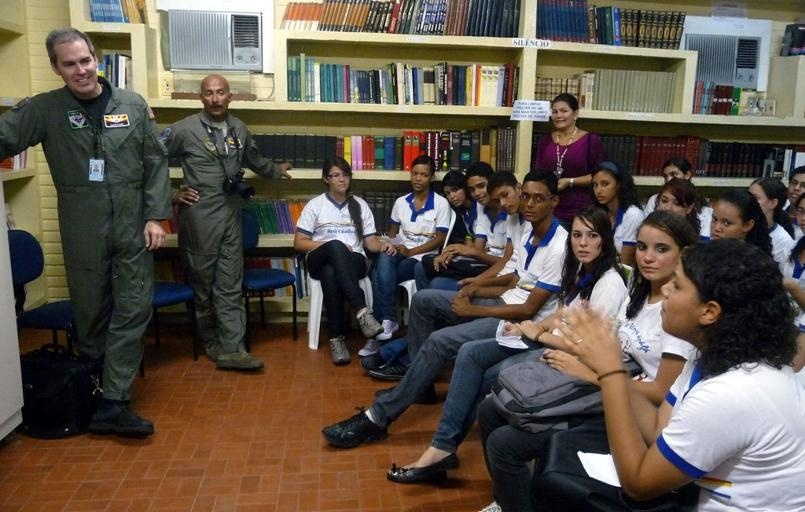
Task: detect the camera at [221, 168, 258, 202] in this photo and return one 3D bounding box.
[{"bbox_3d":[-1.253,-0.547,4.717,0.243,0.096,0.230,36,9,11],"label":"camera"}]

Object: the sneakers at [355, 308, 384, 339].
[{"bbox_3d":[-0.253,0.511,4.807,0.119,0.127,0.319,-35,18,-5],"label":"sneakers"}]

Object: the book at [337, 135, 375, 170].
[{"bbox_3d":[-0.428,-0.930,5.578,0.282,0.381,0.388,-2,10,-15],"label":"book"}]

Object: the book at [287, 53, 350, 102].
[{"bbox_3d":[-0.720,-1.536,5.364,0.537,0.392,0.124,-2,16,-9],"label":"book"}]

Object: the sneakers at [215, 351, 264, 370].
[{"bbox_3d":[-1.218,0.790,4.741,0.378,0.165,0.140,1,-2,2],"label":"sneakers"}]

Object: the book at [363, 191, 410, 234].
[{"bbox_3d":[-0.186,-0.432,5.787,0.473,0.465,0.342,-1,4,-6],"label":"book"}]

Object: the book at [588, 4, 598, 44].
[{"bbox_3d":[1.691,-2.065,5.526,0.061,0.264,0.259,2,7,11],"label":"book"}]

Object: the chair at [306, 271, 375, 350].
[{"bbox_3d":[-0.538,0.461,5.319,0.604,0.510,0.569,-1,0,-9],"label":"chair"}]

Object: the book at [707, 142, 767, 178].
[{"bbox_3d":[3.146,-0.913,5.888,0.391,0.408,0.227,-1,-18,-9],"label":"book"}]

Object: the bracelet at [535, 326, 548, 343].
[{"bbox_3d":[0.719,0.411,3.232,0.032,0.097,0.070,23,9,19],"label":"bracelet"}]

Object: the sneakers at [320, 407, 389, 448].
[{"bbox_3d":[-0.314,1.055,3.871,0.436,0.208,0.189,-1,28,-13],"label":"sneakers"}]

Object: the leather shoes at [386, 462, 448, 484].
[{"bbox_3d":[0.081,1.212,3.545,0.394,0.154,0.131,3,1,0],"label":"leather shoes"}]

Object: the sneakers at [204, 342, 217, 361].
[{"bbox_3d":[-1.490,0.747,4.851,0.086,0.141,0.043,-14,-33,-7],"label":"sneakers"}]

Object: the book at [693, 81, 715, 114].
[{"bbox_3d":[2.792,-1.475,5.819,0.290,0.285,0.069,4,5,-7],"label":"book"}]

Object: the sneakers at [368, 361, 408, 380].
[{"bbox_3d":[-0.104,0.855,4.607,0.309,0.117,0.113,2,1,-3],"label":"sneakers"}]

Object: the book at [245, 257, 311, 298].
[{"bbox_3d":[-1.055,0.137,5.589,0.449,0.423,0.103,0,4,-6],"label":"book"}]

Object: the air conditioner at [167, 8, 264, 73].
[{"bbox_3d":[-1.563,-1.781,5.110,0.854,0.534,0.479,0,5,-5],"label":"air conditioner"}]

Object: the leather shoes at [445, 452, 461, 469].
[{"bbox_3d":[0.272,1.137,3.437,0.135,0.051,0.044,3,-1,24],"label":"leather shoes"}]

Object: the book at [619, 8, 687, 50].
[{"bbox_3d":[2.198,-2.054,5.783,0.619,0.351,0.659,-1,8,-5],"label":"book"}]

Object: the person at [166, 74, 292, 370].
[{"bbox_3d":[-1.417,-0.137,4.760,0.663,1.898,0.843,-3,16,-12],"label":"person"}]

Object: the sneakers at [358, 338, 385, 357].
[{"bbox_3d":[-0.273,0.719,4.889,0.264,0.116,0.094,-8,3,-37],"label":"sneakers"}]

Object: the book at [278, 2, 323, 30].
[{"bbox_3d":[-0.859,-2.045,5.249,0.275,0.282,0.085,5,-4,2],"label":"book"}]

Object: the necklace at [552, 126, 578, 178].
[{"bbox_3d":[1.330,-0.864,5.162,0.129,0.422,0.062,9,7,36],"label":"necklace"}]

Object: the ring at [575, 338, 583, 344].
[{"bbox_3d":[0.722,0.349,2.539,0.006,0.021,0.021,44,30,-9],"label":"ring"}]

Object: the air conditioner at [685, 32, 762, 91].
[{"bbox_3d":[3.054,-1.865,5.914,0.750,0.494,0.171,1,2,-11],"label":"air conditioner"}]

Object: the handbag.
[{"bbox_3d":[-2.093,0.816,4.010,0.527,0.492,0.503,7,10,17],"label":"handbag"}]
